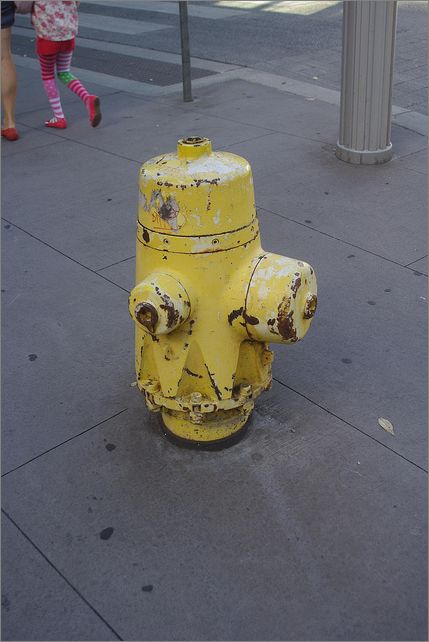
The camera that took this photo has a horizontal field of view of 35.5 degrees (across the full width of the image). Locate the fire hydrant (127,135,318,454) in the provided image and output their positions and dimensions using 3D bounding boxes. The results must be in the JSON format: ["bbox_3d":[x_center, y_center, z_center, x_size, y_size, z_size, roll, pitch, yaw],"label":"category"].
[{"bbox_3d":[0.026,-0.038,2.487,0.670,1.191,0.559,-5,27,-6],"label":"fire hydrant"}]

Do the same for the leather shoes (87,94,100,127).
[{"bbox_3d":[-1.188,-2.088,6.637,0.126,0.324,0.142,-15,39,-13],"label":"leather shoes"}]
